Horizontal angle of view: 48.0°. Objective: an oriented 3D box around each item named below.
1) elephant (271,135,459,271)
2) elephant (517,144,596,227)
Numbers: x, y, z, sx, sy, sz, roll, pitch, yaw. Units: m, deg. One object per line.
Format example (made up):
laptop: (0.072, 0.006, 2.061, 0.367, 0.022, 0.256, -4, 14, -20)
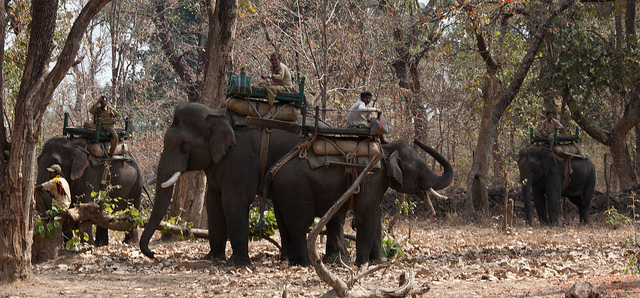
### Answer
elephant: (1.430, 2.382, 30.275, 9.256, 6.001, 4.024, -5, 0, -9)
elephant: (12.149, 2.168, 37.516, 5.682, 4.034, 2.522, 3, -5, -25)
